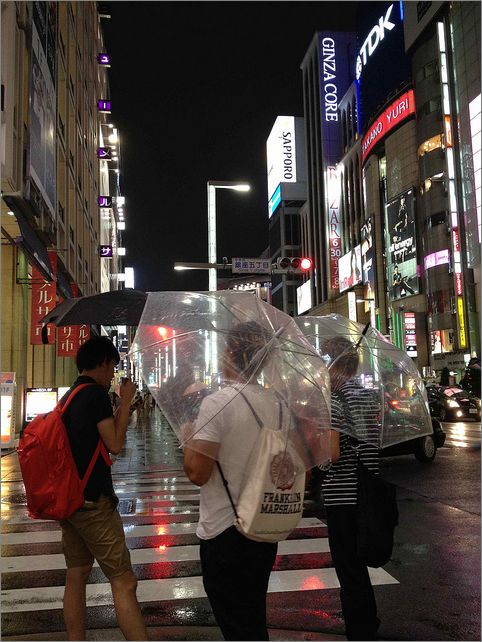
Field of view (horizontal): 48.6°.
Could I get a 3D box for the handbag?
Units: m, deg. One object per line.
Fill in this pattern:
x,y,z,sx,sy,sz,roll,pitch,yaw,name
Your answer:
0.745,1.006,2.943,0.227,0.649,0.358,-4,-4,14,handbag

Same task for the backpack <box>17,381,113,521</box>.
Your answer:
-0.953,0.680,2.787,0.355,0.787,0.397,6,-20,-42,backpack

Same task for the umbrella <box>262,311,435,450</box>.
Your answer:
0.973,0.454,4.125,1.090,0.675,1.293,-1,9,24,umbrella

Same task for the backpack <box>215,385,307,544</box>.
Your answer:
0.090,0.572,2.145,0.255,0.646,0.334,0,-17,21,backpack

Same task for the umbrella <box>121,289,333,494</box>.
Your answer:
-0.104,0.192,2.467,0.717,0.842,0.347,-3,-36,-48,umbrella
